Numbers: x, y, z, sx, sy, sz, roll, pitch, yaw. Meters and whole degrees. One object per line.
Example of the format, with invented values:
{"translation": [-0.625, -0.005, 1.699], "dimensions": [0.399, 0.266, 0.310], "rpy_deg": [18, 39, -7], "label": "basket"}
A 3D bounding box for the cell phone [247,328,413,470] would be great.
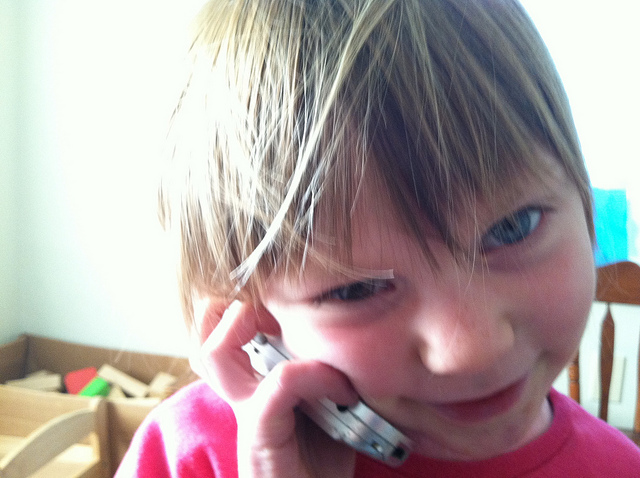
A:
{"translation": [0.003, 0.177, 0.639], "dimensions": [0.174, 0.046, 0.130], "rpy_deg": [33, 0, 24], "label": "cell phone"}

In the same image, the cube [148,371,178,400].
{"translation": [-0.228, 0.210, 0.826], "dimensions": [0.050, 0.048, 0.021], "rpy_deg": [0, 9, 42], "label": "cube"}
